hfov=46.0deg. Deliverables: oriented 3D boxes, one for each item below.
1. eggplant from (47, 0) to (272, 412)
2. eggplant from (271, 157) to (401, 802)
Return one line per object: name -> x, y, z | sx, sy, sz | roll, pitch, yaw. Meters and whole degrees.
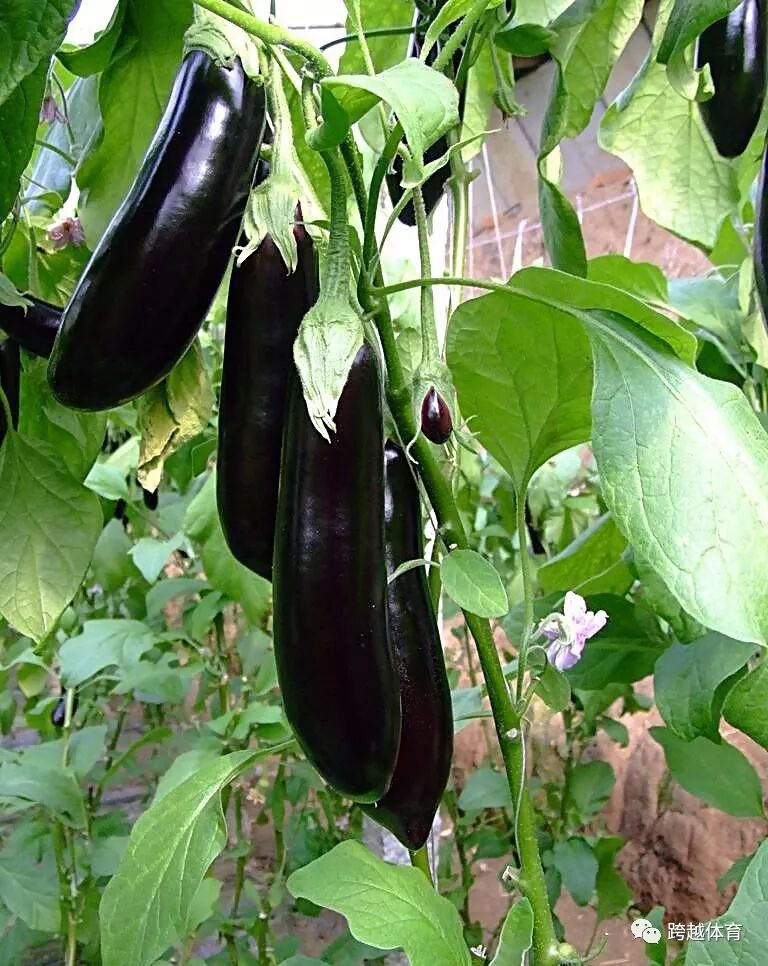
eggplant -> -0.087, -0.104, 0.363 | 0.044, 0.118, 0.111 | 12, 31, 29
eggplant -> -0.023, 0.009, 0.337 | 0.044, 0.191, 0.045 | -1, -9, -10
